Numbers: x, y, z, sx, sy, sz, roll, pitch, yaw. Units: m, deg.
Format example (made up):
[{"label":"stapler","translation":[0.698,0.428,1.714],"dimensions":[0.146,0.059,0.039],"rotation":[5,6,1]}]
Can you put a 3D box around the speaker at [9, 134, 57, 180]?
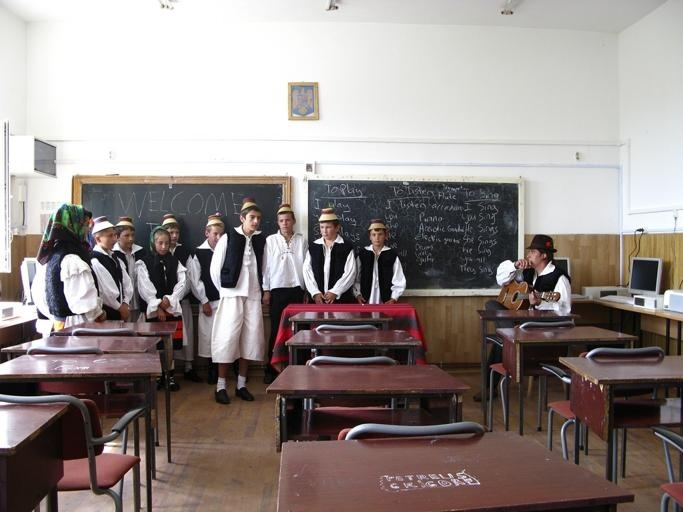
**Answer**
[{"label":"speaker","translation":[-3.071,-1.001,5.965],"dimensions":[0.223,0.414,0.495],"rotation":[4,10,27]}]

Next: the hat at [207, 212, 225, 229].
[{"label":"hat","translation":[-1.305,-0.375,6.089],"dimensions":[0.156,0.108,0.158],"rotation":[0,-8,-4]}]

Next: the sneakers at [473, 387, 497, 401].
[{"label":"sneakers","translation":[1.307,1.259,5.397],"dimensions":[0.278,0.116,0.090],"rotation":[3,-7,-27]}]

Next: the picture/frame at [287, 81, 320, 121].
[{"label":"picture/frame","translation":[-0.425,-1.652,6.268],"dimensions":[0.404,0.480,0.036],"rotation":[-1,1,-3]}]

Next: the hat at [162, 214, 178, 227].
[{"label":"hat","translation":[-1.744,-0.374,6.015],"dimensions":[0.131,0.069,0.133],"rotation":[0,8,1]}]

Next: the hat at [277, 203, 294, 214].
[{"label":"hat","translation":[-0.581,-0.474,5.959],"dimensions":[0.131,0.072,0.135],"rotation":[0,-2,19]}]

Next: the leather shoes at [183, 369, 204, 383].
[{"label":"leather shoes","translation":[-1.520,1.218,6.052],"dimensions":[0.090,0.099,0.259],"rotation":[3,-4,-42]}]

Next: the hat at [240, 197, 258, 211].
[{"label":"hat","translation":[-0.894,-0.504,5.691],"dimensions":[0.136,0.128,0.194],"rotation":[1,7,3]}]

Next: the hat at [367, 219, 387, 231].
[{"label":"hat","translation":[0.373,-0.311,5.980],"dimensions":[0.127,0.067,0.127],"rotation":[1,3,-21]}]

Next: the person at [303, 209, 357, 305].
[{"label":"person","translation":[-0.108,-0.019,5.855],"dimensions":[0.470,0.894,0.403],"rotation":[-5,10,-24]}]

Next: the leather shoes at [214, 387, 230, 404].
[{"label":"leather shoes","translation":[-1.082,1.258,5.329],"dimensions":[0.104,0.096,0.227],"rotation":[2,-8,-16]}]

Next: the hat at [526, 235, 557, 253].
[{"label":"hat","translation":[1.854,-0.112,5.493],"dimensions":[0.235,0.095,0.184],"rotation":[10,-2,0]}]

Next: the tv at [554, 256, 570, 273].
[{"label":"tv","translation":[2.249,0.086,6.053],"dimensions":[0.161,0.191,0.019],"rotation":[-3,5,-5]}]

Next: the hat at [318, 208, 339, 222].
[{"label":"hat","translation":[-0.139,-0.413,5.890],"dimensions":[0.142,0.088,0.164],"rotation":[-1,7,-5]}]

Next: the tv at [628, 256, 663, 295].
[{"label":"tv","translation":[3.047,0.200,5.913],"dimensions":[0.133,0.420,0.356],"rotation":[7,-6,-17]}]
